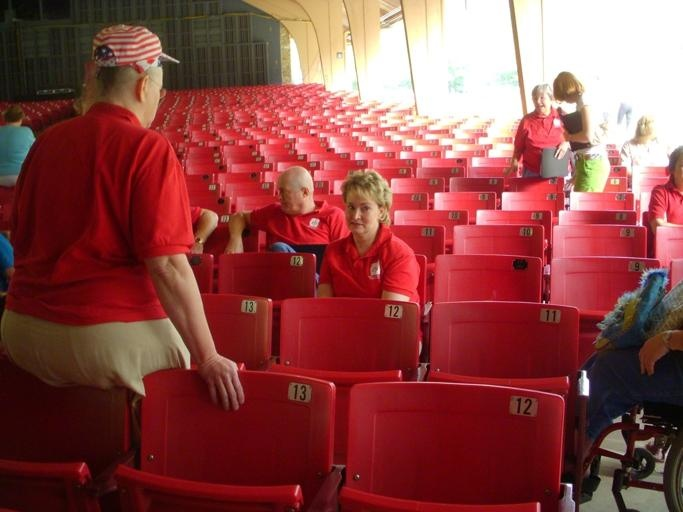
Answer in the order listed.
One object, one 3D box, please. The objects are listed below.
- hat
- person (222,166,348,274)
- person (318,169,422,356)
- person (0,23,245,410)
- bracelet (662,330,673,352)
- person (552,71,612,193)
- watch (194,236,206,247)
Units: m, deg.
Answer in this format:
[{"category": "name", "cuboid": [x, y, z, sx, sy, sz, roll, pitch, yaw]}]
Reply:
[{"category": "hat", "cuboid": [-0.803, -0.774, 2.123, 0.260, 0.153, 0.177, -15, 35, -26]}, {"category": "person", "cuboid": [-0.498, -0.179, 4.609, 1.005, 1.124, 0.640, 10, 6, 15]}, {"category": "person", "cuboid": [0.147, -0.100, 3.310, 0.632, 0.819, 0.324, -2, 6, 4]}, {"category": "person", "cuboid": [-0.854, 0.011, 2.066, 1.015, 1.081, 0.242, -1, 6, 10]}, {"category": "bracelet", "cuboid": [1.387, 0.363, 2.331, 0.053, 0.082, 0.032, 0, -6, 29]}, {"category": "person", "cuboid": [2.897, -1.480, 6.675, 0.571, 1.437, 0.599, 2, 7, 36]}, {"category": "watch", "cuboid": [-1.204, -0.114, 4.681, 0.081, 0.024, 0.087, -7, 25, -29]}]
